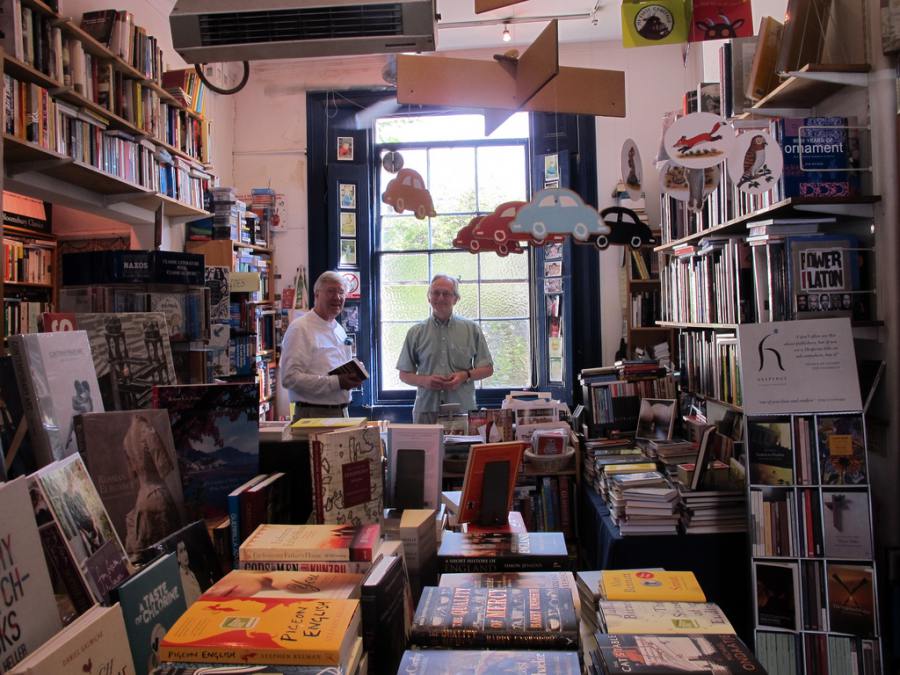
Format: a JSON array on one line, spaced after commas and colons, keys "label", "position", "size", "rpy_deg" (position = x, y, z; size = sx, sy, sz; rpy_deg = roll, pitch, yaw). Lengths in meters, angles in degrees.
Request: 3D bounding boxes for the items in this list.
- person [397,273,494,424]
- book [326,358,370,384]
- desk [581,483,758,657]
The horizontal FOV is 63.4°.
[{"label": "person", "position": [-0.048, 0.291, 5.491], "size": [0.697, 1.455, 0.489], "rpy_deg": [0, 9, 6]}, {"label": "book", "position": [-0.648, 0.207, 4.526], "size": [0.205, 0.054, 0.218], "rpy_deg": [-7, -18, 15]}, {"label": "desk", "position": [0.895, 0.888, 2.829], "size": [0.676, 0.288, 0.714], "rpy_deg": [0, -3, 3]}]
